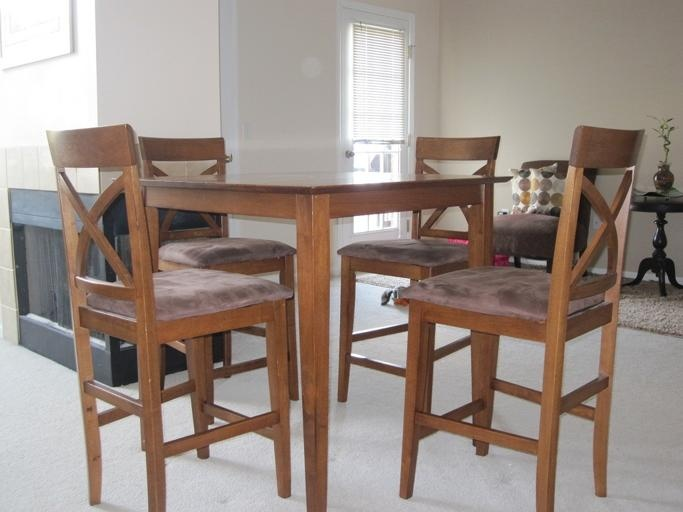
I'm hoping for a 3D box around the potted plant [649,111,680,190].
[{"bbox_3d":[2.710,-0.863,4.705,0.248,0.601,0.568,8,17,27],"label":"potted plant"}]

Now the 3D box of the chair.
[{"bbox_3d":[-0.216,0.233,2.109,1.931,1.157,1.177,2,5,42],"label":"chair"}]
